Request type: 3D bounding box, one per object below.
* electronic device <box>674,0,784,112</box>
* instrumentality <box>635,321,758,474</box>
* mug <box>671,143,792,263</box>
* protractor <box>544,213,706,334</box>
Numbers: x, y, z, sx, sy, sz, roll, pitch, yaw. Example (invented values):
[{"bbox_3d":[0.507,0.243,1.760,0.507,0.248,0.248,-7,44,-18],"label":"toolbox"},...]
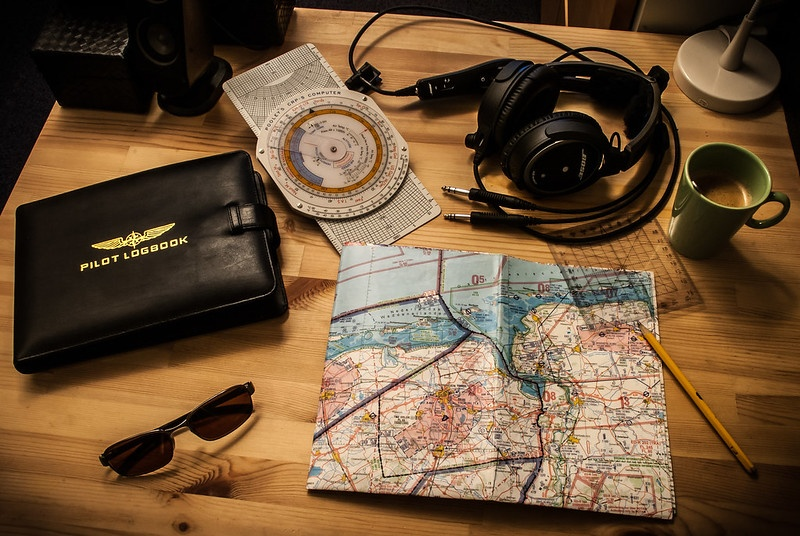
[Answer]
[{"bbox_3d":[0.760,-0.483,1.551,0.167,0.180,0.168,39,74,15],"label":"electronic device"},{"bbox_3d":[0.578,0.269,1.324,0.025,0.026,0.359,-40,80,-8],"label":"instrumentality"},{"bbox_3d":[0.632,-0.143,1.417,0.269,0.245,0.174,12,76,21],"label":"mug"},{"bbox_3d":[0.531,0.017,1.409,0.221,0.003,0.194,-17,57,2],"label":"protractor"}]
